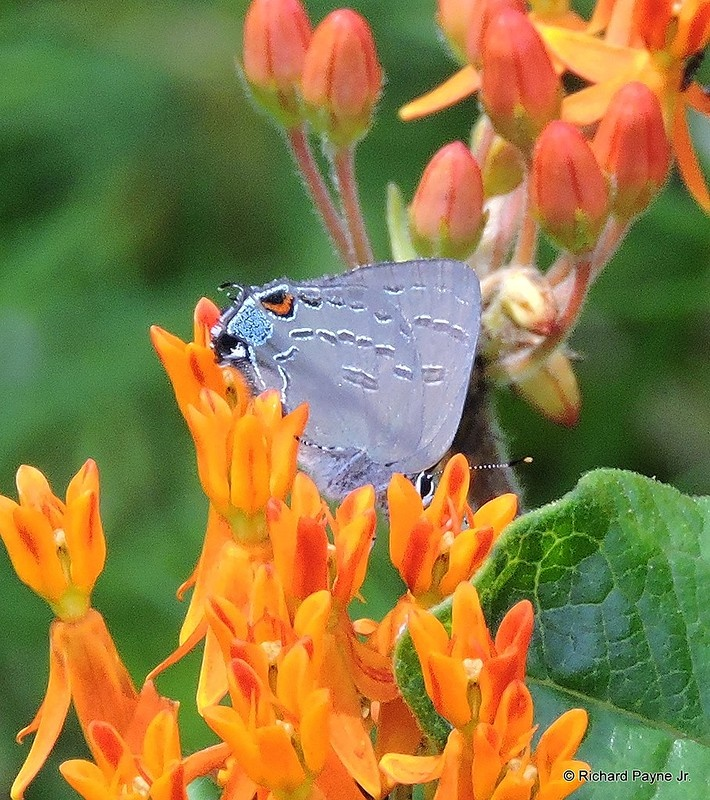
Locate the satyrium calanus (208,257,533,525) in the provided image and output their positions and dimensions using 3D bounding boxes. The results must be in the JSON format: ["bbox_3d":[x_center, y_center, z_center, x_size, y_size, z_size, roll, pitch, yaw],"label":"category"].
[{"bbox_3d":[0.015,-0.018,0.845,0.091,0.165,0.165,-21,94,9],"label":"satyrium calanus"}]

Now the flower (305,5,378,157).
[{"bbox_3d":[-0.008,-0.215,0.905,0.057,0.067,0.059,-13,64,0],"label":"flower"}]
